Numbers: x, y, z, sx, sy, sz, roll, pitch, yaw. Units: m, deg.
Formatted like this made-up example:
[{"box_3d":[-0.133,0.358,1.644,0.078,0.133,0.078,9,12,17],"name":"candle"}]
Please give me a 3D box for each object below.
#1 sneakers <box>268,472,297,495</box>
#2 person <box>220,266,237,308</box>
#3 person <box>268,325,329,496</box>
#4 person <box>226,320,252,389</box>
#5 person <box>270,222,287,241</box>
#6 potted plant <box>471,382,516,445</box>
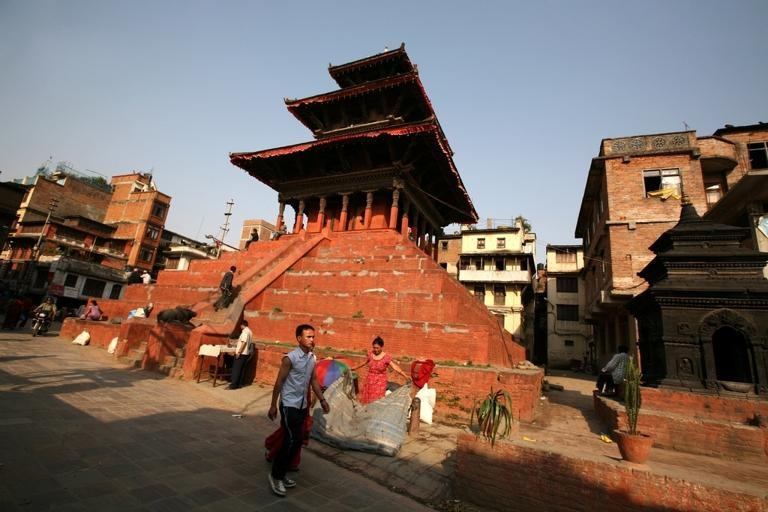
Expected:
[{"box_3d":[-1.544,3.354,5.543,0.513,0.193,0.164,-1,-26,30],"name":"sneakers"},{"box_3d":[-5.444,1.044,13.376,0.461,1.441,0.977,10,1,-21],"name":"person"},{"box_3d":[-1.352,2.253,5.719,0.706,2.489,0.761,11,1,6],"name":"person"},{"box_3d":[-3.763,2.675,10.181,0.514,1.773,0.861,10,1,-18],"name":"person"},{"box_3d":[-5.589,-1.402,20.506,0.467,0.937,1.494,10,0,-34],"name":"person"},{"box_3d":[1.788,2.502,5.882,0.511,0.505,0.464,30,-43,-29],"name":"potted plant"}]
